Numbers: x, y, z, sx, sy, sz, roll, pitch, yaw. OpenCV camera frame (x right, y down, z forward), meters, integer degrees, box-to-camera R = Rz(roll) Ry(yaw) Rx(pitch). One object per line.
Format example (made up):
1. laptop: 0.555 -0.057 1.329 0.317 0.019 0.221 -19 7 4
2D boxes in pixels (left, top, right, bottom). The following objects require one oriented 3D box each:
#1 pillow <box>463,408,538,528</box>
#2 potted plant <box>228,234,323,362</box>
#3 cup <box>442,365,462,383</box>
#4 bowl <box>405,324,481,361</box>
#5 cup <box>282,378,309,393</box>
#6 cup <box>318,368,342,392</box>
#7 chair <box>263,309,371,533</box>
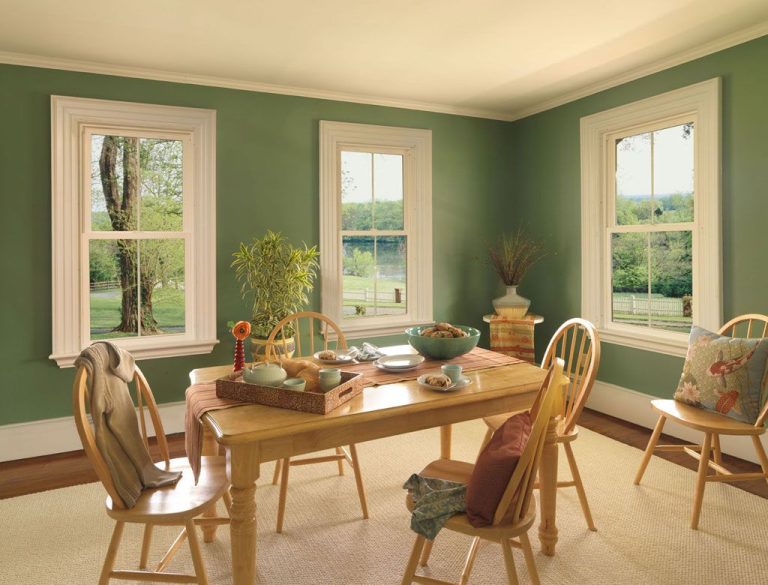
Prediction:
1. pillow: 0.536 0.760 2.424 0.222 0.407 0.398 5 11 45
2. potted plant: -0.880 0.111 4.492 0.789 0.967 0.681 5 -5 0
3. cup: 0.333 0.406 2.798 0.089 0.069 0.072 -3 3 -21
4. bowl: 0.319 0.313 3.305 0.437 0.166 0.423 3 3 0
5. cup: -0.410 0.426 2.608 0.072 0.044 0.065 -3 5 -36
6. cup: -0.257 0.416 2.677 0.096 0.079 0.099 2 6 0
7. chair: -0.475 0.820 3.792 0.744 1.316 0.720 -5 -4 -30
